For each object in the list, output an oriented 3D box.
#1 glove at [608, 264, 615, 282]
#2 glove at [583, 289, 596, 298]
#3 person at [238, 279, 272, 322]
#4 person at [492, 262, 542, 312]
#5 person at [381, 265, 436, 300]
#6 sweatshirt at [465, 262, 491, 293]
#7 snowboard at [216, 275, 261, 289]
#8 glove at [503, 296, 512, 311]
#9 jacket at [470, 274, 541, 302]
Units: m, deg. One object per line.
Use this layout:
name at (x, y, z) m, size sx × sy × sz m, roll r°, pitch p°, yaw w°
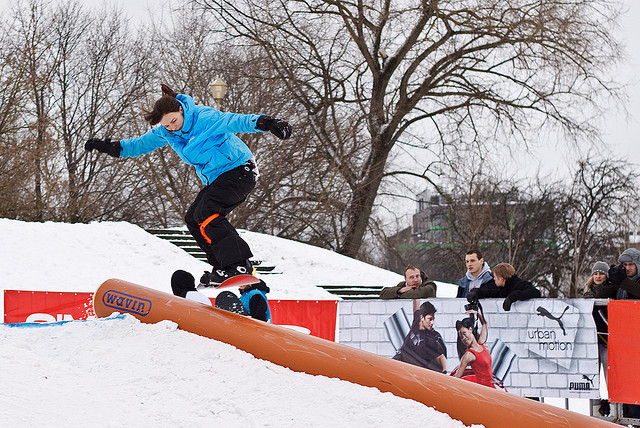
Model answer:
glove at (6.272, 1.289, 20.372) m, size 0.133 × 0.352 × 0.379 m, roll 3°, pitch -6°, yaw 13°
glove at (5.959, 1.756, 20.971) m, size 0.140 × 0.177 × 0.464 m, roll 7°, pitch -6°, yaw -18°
person at (-1.199, 1.694, 18.368) m, size 0.646 × 1.121 × 1.151 m, roll 0°, pitch -5°, yaw -12°
person at (4.136, 1.560, 20.388) m, size 1.127 × 0.975 × 1.771 m, roll -7°, pitch 10°, yaw 6°
person at (1.985, 1.525, 20.735) m, size 0.709 × 0.623 × 0.999 m, roll -8°, pitch -10°, yaw 22°
sweatshirt at (3.406, 1.362, 20.365) m, size 0.445 × 0.542 × 0.283 m, roll -10°, pitch -30°, yaw 44°
snowboard at (-1.581, 1.315, 18.301) m, size 0.866 × 0.147 × 0.259 m, roll -2°, pitch -14°, yaw -9°
glove at (3.934, 1.910, 19.872) m, size 0.173 × 0.293 × 0.070 m, roll 3°, pitch -6°, yaw 6°
jacket at (4.012, 1.633, 19.971) m, size 0.618 × 0.378 × 0.936 m, roll 5°, pitch -7°, yaw -38°
